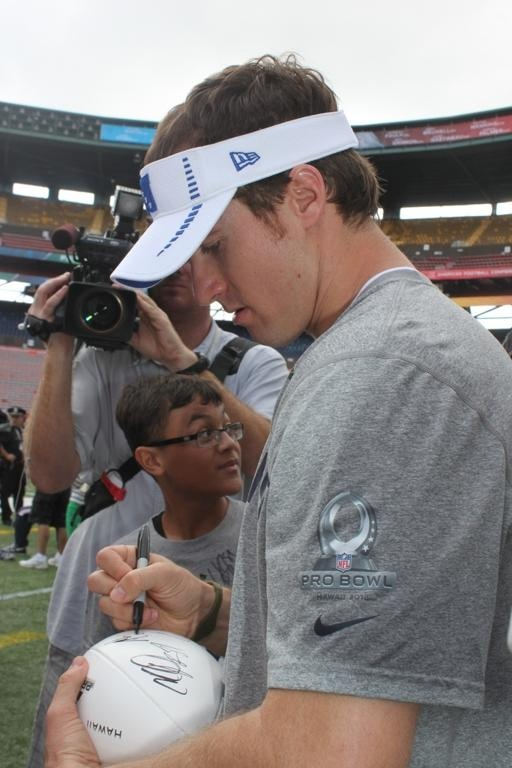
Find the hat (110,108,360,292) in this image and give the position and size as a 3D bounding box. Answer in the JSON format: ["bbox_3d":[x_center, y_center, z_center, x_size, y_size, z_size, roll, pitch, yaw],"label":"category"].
[{"bbox_3d":[-0.060,-0.297,1.104,0.415,0.150,0.240,-28,3,1],"label":"hat"}]

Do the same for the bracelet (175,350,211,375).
[{"bbox_3d":[-0.203,-0.064,2.270,0.076,0.026,0.074,-24,11,22],"label":"bracelet"}]

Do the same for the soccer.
[{"bbox_3d":[-0.163,0.497,1.188,0.223,0.140,0.189,-1,1,-43],"label":"soccer"}]

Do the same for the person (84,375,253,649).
[{"bbox_3d":[-0.227,0.351,2.253,0.574,0.685,0.895,7,15,5],"label":"person"}]
